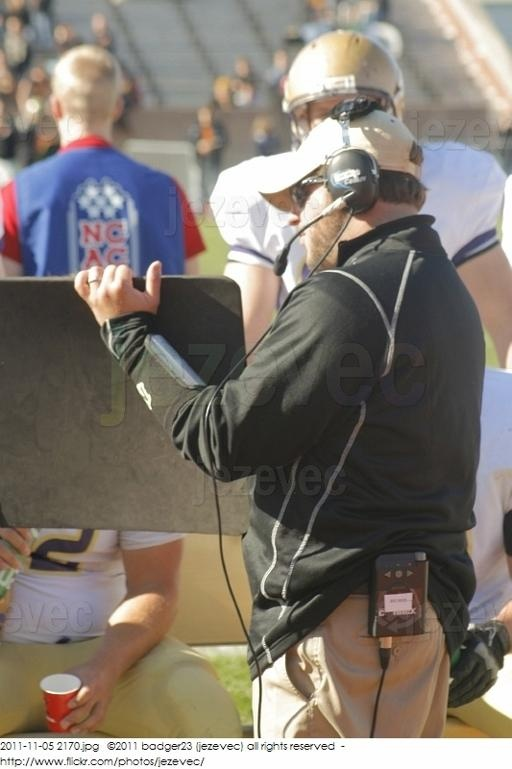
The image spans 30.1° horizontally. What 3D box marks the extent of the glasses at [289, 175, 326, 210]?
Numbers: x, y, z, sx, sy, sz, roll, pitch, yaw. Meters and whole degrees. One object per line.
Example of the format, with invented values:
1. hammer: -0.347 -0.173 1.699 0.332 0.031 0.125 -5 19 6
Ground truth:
1. glasses: 0.109 -0.395 1.937 0.054 0.022 0.065 -2 -29 -47

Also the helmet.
1. helmet: 0.238 -0.755 2.384 0.205 0.175 0.235 -18 -17 20

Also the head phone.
1. head phone: 0.189 -0.446 1.902 0.114 0.191 0.224 -2 6 9
